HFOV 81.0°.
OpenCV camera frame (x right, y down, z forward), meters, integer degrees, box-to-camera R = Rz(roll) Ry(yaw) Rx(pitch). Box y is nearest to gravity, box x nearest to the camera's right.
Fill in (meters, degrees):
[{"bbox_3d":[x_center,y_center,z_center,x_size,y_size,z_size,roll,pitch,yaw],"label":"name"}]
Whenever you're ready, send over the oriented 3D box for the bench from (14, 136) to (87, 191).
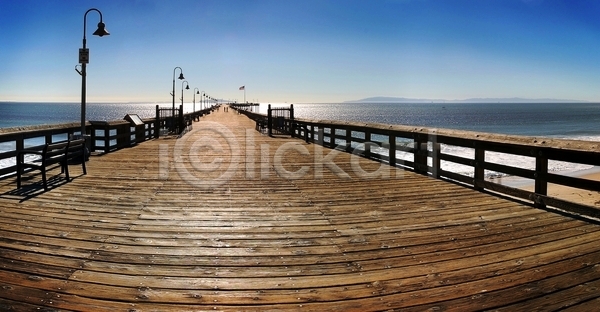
[{"bbox_3d":[-6.046,0.202,8.619,1.121,0.847,2.039,6,6,1],"label":"bench"}]
